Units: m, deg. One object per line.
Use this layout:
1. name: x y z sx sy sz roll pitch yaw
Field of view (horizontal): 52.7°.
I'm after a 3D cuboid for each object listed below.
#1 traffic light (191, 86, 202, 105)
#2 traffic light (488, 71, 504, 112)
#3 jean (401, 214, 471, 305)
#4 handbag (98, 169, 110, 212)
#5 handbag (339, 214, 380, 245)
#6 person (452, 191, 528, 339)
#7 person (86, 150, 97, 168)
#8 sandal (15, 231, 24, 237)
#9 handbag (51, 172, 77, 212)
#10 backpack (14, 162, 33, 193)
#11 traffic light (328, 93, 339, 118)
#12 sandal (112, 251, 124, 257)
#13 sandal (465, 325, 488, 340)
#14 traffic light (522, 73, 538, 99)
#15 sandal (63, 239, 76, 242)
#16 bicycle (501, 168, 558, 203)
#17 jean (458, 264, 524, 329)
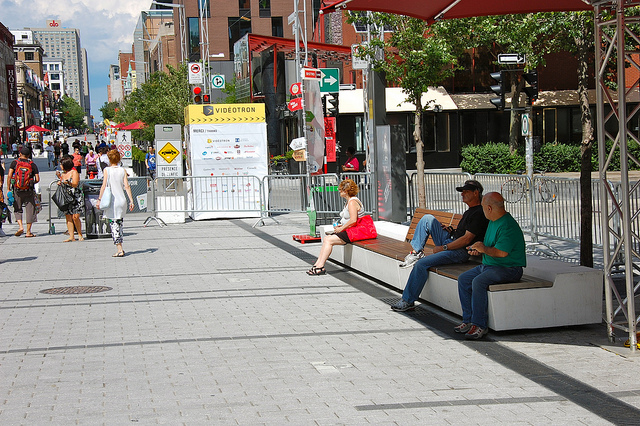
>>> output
1. traffic light: -5.030 -4.825 26.271 0.301 0.679 0.759 -3 8 -16
2. traffic light: 5.012 -3.539 18.407 0.381 1.044 0.877 1 8 15
3. jean: 1.762 0.509 9.970 1.282 1.738 0.657 -4 13 -4
4. handbag: -4.972 -0.532 14.835 0.262 0.938 0.247 -3 8 -19
5. handbag: 0.712 0.312 12.218 0.549 0.532 0.205 -24 -16 0
6. person: 2.352 0.655 8.987 0.960 1.894 1.309 2 8 19
7. person: -10.397 -2.492 29.282 0.469 0.686 0.992 -4 8 -20
8. sandal: -8.356 0.565 17.899 0.133 0.153 0.344 1 -4 -25
9. handbag: -6.851 -0.503 16.913 0.337 0.880 0.460 -26 -31 36
10. backpack: -8.488 -1.122 18.443 0.578 0.867 0.479 3 18 -34
11. traffic light: 0.624 -5.673 33.299 0.484 1.109 1.005 -2 7 -5
12. sandal: -4.634 0.935 14.729 0.339 0.143 0.108 3 1 23
13. sandal: 2.059 1.589 8.585 0.114 0.157 0.349 -6 -6 40
14. traffic light: 6.269 -3.844 19.373 0.346 0.729 0.708 2 8 22
15. sandal: -6.538 0.703 16.855 0.280 0.054 0.107 -6 9 -33
16. bicycle: 4.489 -0.613 14.094 1.314 0.820 0.649 0 -24 -14
17. jean: 2.268 1.015 8.929 0.680 0.861 1.301 -3 7 -14
